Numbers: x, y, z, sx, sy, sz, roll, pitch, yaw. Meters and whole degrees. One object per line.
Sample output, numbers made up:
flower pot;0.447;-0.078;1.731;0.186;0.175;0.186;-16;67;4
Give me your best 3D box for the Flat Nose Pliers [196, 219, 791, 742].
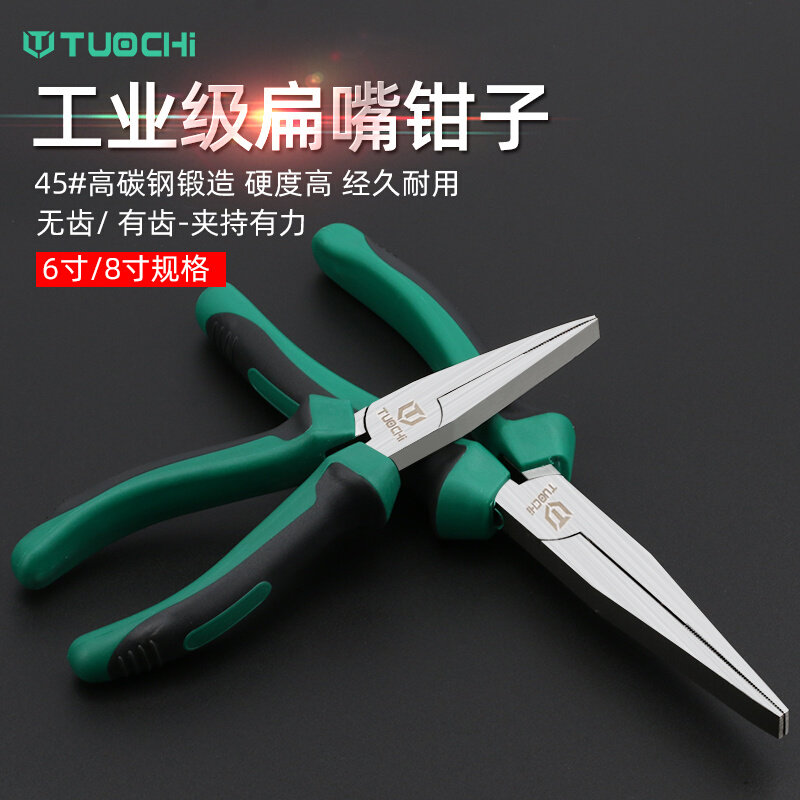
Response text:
Flat Nose Pliers;0.028;0.064;1.213;0.292;0.148;0.986;-34;56;-27
